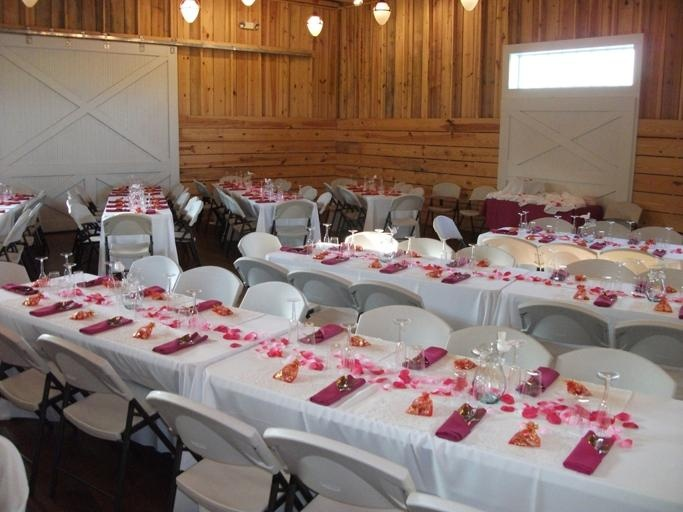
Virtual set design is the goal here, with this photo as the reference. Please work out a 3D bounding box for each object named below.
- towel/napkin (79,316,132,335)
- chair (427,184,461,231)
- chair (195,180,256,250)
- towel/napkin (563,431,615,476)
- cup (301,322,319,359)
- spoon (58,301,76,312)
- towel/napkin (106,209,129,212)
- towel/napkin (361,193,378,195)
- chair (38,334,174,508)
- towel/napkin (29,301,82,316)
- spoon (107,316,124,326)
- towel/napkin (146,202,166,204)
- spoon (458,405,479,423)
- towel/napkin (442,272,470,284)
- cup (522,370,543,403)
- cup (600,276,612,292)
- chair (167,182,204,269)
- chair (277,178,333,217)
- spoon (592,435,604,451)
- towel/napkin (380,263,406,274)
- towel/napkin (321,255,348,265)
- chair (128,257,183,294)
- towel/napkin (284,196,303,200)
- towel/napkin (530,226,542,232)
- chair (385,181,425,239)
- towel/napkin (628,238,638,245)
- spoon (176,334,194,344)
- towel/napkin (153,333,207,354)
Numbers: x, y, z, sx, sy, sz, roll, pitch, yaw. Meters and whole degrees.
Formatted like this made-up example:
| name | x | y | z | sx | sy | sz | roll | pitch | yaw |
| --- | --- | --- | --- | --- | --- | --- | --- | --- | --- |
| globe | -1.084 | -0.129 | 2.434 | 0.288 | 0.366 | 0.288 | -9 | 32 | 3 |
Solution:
| name | x | y | z | sx | sy | sz | roll | pitch | yaw |
| --- | --- | --- | --- | --- | --- | --- | --- | --- | --- |
| towel/napkin | -1.455 | 0.411 | 2.880 | 0.113 | 0.026 | 0.193 | 5 | 11 | 37 |
| chair | 2.182 | -1.144 | 9.996 | 0.714 | 0.924 | 1.219 | 1 | 8 | 11 |
| chair | -2.148 | -0.764 | 8.623 | 0.553 | 0.743 | 1.567 | -11 | 25 | -20 |
| towel/napkin | 0.912 | 0.710 | 1.696 | 0.281 | 0.028 | 0.098 | -12 | 15 | -39 |
| cup | -0.191 | 0.465 | 2.643 | 0.150 | 0.181 | 0.137 | 2 | 5 | 0 |
| spoon | -1.867 | 0.344 | 3.184 | 0.070 | 0.016 | 0.073 | 13 | 16 | 41 |
| towel/napkin | -3.410 | -0.701 | 7.056 | 0.298 | 0.064 | 0.435 | -4 | 8 | -26 |
| towel/napkin | 0.521 | -1.209 | 8.946 | 0.153 | 0.034 | 0.154 | 2 | 3 | 38 |
| chair | -1.349 | 0.873 | 2.601 | 0.846 | 0.990 | 0.469 | 7 | 11 | 41 |
| towel/napkin | -1.924 | 0.353 | 3.140 | 0.203 | 0.033 | 0.114 | -15 | 19 | -42 |
| spoon | -1.426 | 0.413 | 2.936 | 0.050 | 0.042 | 0.065 | 3 | 14 | -1 |
| towel/napkin | -3.010 | -0.889 | 7.663 | 0.145 | 0.032 | 0.134 | 2 | 8 | 3 |
| spoon | 0.524 | 0.655 | 1.935 | 0.046 | 0.012 | 0.045 | -12 | 23 | -32 |
| towel/napkin | 0.970 | 0.182 | 4.005 | 0.176 | 0.066 | 0.334 | 5 | 9 | 34 |
| cup | 0.830 | 0.570 | 2.046 | 0.120 | 0.133 | 0.111 | -1 | 6 | 0 |
| cup | 2.044 | 0.221 | 3.626 | 0.103 | 0.106 | 0.097 | -3 | 7 | 0 |
| chair | -2.629 | -0.503 | 7.838 | 0.686 | 0.870 | 1.757 | -6 | 16 | -26 |
| chair | -0.663 | -1.138 | 8.814 | 0.786 | 0.911 | 0.738 | 6 | 9 | -3 |
| spoon | 0.934 | 0.687 | 1.709 | 0.039 | 0.038 | 0.039 | 12 | 19 | 42 |
| towel/napkin | 0.472 | 0.107 | 4.260 | 0.106 | 0.023 | 0.192 | 4 | 13 | 24 |
| towel/napkin | -0.064 | 0.034 | 4.527 | 0.104 | 0.031 | 0.190 | 5 | 12 | 28 |
| chair | -1.498 | 0.159 | 3.750 | 0.274 | 0.319 | 0.256 | -3 | 15 | -22 |
| towel/napkin | -0.882 | -1.045 | 8.264 | 0.190 | 0.043 | 0.197 | 0 | 2 | 29 |
| towel/napkin | 2.453 | -0.352 | 5.914 | 0.119 | 0.032 | 0.109 | -1 | 13 | 1 |
| chair | 1.096 | -0.697 | 8.346 | 0.652 | 0.822 | 0.451 | 0 | 9 | 5 |
| towel/napkin | 3.286 | -0.167 | 5.276 | 0.085 | 0.025 | 0.086 | 0 | 16 | 22 |
| spoon | -0.883 | 0.474 | 2.648 | 0.063 | 0.022 | 0.064 | 4 | 16 | 38 |
| towel/napkin | -0.907 | 0.470 | 2.608 | 0.109 | 0.031 | 0.190 | 5 | 16 | 40 |
